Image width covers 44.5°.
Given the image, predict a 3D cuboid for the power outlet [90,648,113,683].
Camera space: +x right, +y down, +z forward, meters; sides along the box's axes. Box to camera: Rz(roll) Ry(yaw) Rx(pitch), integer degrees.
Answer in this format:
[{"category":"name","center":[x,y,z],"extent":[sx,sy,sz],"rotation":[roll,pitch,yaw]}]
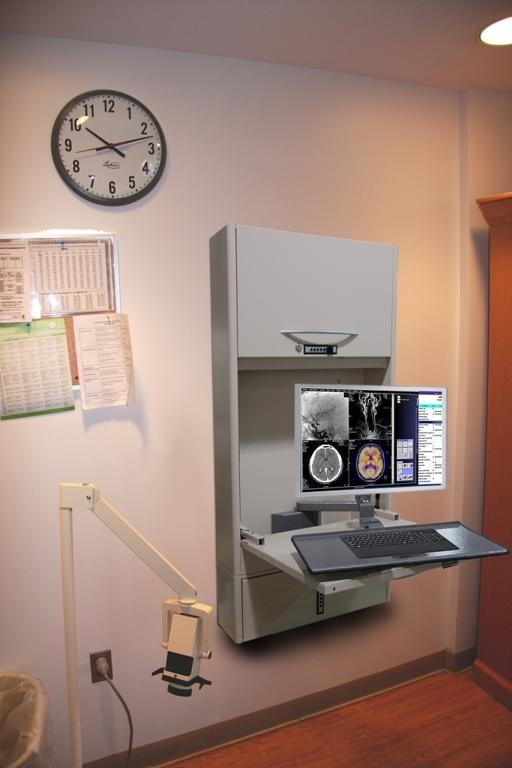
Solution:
[{"category":"power outlet","center":[-0.515,0.942,2.079],"extent":[0.075,0.103,0.040],"rotation":[-2,7,-16]}]

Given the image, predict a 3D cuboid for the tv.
[{"category":"tv","center":[0.383,0.174,2.010],"extent":[0.538,0.355,0.057],"rotation":[-2,7,-17]}]

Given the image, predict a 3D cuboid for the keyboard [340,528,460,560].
[{"category":"keyboard","center":[0.413,0.466,1.827],"extent":[0.327,0.015,0.231],"rotation":[-2,7,-14]}]

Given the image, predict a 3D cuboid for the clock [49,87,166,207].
[{"category":"clock","center":[-0.493,-0.764,2.009],"extent":[0.329,0.323,0.035],"rotation":[23,-1,-20]}]
